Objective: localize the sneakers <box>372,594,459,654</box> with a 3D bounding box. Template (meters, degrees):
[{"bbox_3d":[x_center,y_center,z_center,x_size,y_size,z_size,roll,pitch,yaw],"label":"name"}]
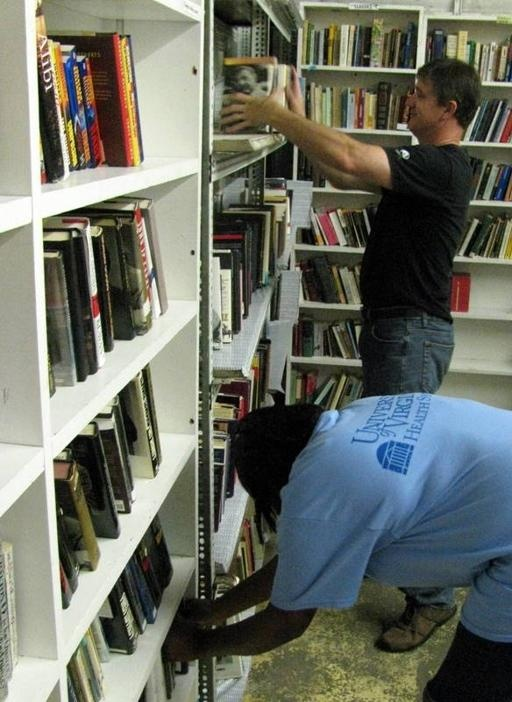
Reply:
[{"bbox_3d":[0.633,1.008,2.160,0.349,0.231,0.115,-9,17,-38],"label":"sneakers"}]
